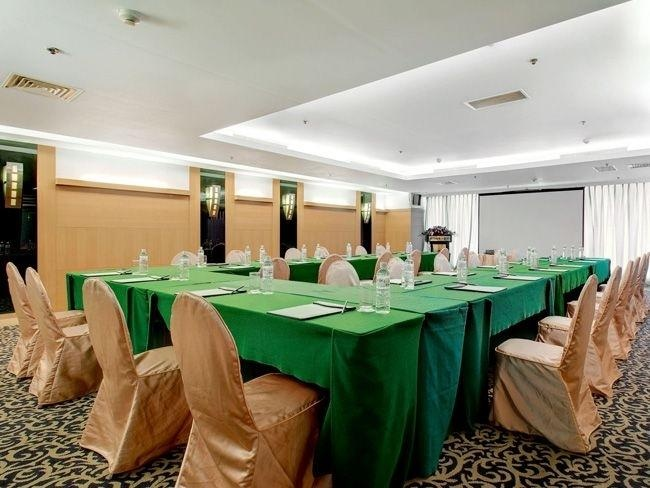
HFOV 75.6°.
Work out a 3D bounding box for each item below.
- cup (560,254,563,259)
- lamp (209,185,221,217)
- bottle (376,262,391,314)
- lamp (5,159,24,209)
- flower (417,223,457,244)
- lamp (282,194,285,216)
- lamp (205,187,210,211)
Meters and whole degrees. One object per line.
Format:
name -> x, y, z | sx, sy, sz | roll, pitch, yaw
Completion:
cup -> 5.633, 0.315, 10.087 | 0.059, 0.128, 0.060 | -3, 7, 0
lamp -> -2.461, -0.983, 9.529 | 0.103, 0.709, 0.336 | 0, 2, 28
bottle -> 0.416, 0.335, 3.074 | 0.107, 0.308, 0.231 | -1, 1, 8
lamp -> -5.068, -0.970, 6.872 | 0.272, 0.504, 0.102 | -2, 2, -40
flower -> 3.366, -0.230, 12.288 | 0.739, 0.434, 0.764 | 0, 0, -42
lamp -> -1.079, -1.041, 11.016 | 0.148, 0.488, 0.047 | -3, 2, -43
lamp -> -2.604, -1.002, 9.388 | 0.118, 0.528, 0.048 | -2, 2, -18
